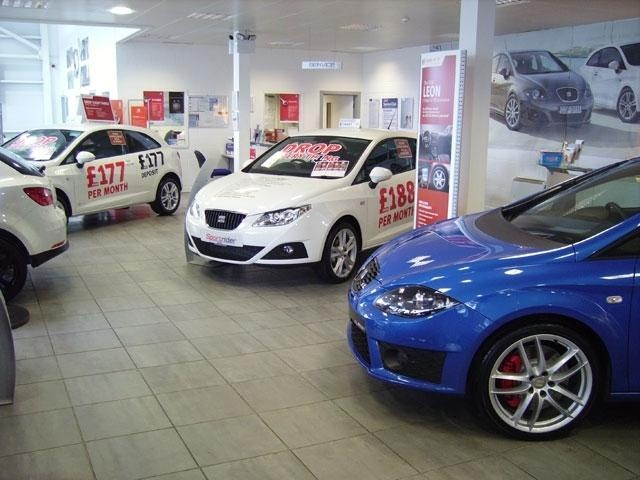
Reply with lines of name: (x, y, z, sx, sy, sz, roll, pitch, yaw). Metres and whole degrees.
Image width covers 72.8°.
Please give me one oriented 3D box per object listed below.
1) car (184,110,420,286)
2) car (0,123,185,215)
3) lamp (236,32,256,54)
car: (0.081, -0.796, 6.503, 2.335, 1.464, 4.065, 16, 24, 35)
car: (-4.164, -1.390, 8.384, 1.954, 1.121, 3.192, 6, 7, 43)
lamp: (-1.798, -4.717, 10.381, 0.605, 0.478, 0.289, -4, 32, -18)
